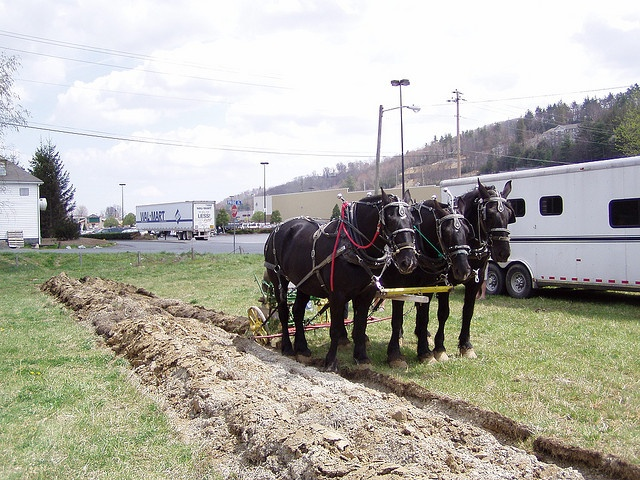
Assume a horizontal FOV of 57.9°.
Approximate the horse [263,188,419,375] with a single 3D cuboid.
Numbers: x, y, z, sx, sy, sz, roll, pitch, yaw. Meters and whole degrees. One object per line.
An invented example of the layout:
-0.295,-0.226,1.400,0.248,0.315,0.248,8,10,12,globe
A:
0.309,0.689,10.431,0.962,3.251,3.376,-5,8,-38,horse
